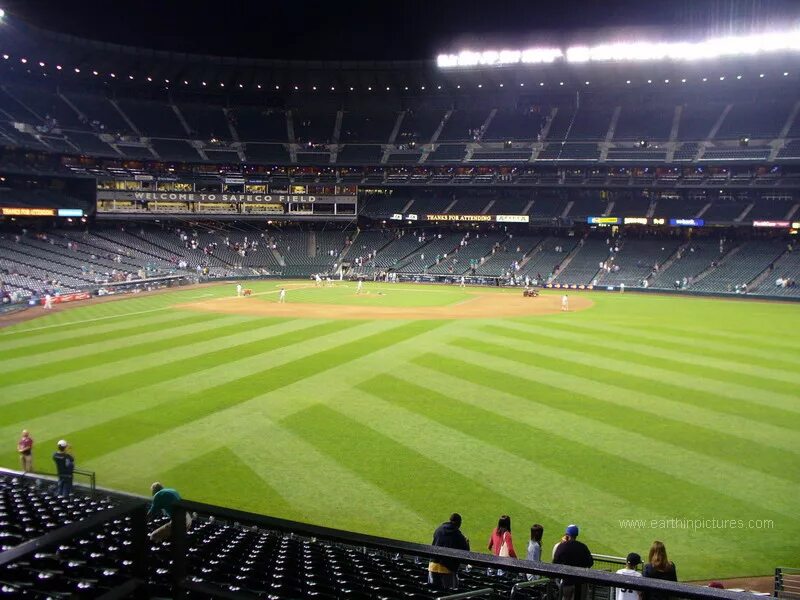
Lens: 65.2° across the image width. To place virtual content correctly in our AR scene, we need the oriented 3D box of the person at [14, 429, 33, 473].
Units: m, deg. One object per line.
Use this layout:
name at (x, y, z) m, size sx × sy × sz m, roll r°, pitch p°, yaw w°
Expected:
person at (-12.717, 5.106, 21.238) m, size 0.392 × 1.443 × 1.178 m, roll -6°, pitch 11°, yaw -32°

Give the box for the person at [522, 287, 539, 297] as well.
person at (12.101, -0.695, 58.193) m, size 1.515 × 0.610 × 0.840 m, roll 2°, pitch 0°, yaw 3°

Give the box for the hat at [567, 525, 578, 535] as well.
hat at (4.323, 5.780, 15.720) m, size 0.326 × 0.161 × 0.367 m, roll 5°, pitch 0°, yaw 14°
